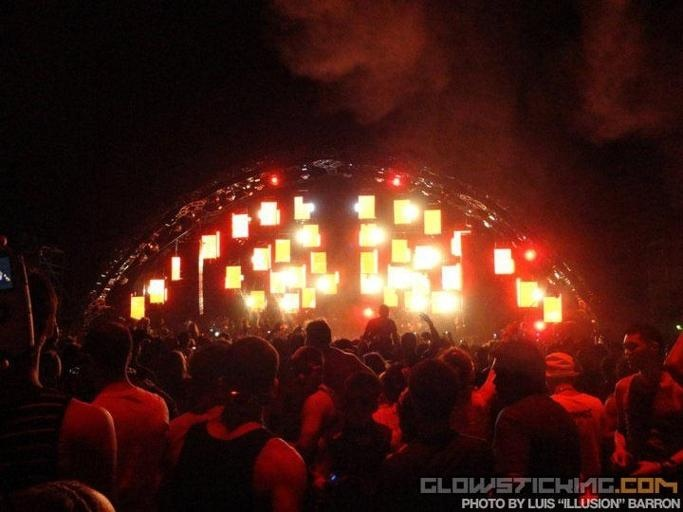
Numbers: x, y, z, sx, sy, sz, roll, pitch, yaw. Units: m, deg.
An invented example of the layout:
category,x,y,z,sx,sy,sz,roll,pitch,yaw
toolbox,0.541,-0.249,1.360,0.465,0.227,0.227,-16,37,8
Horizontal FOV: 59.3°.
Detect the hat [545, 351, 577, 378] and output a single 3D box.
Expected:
category,x,y,z,sx,sy,sz,roll,pitch,yaw
hat,2.261,1.149,6.186,0.363,0.321,0.143,-4,-55,22
